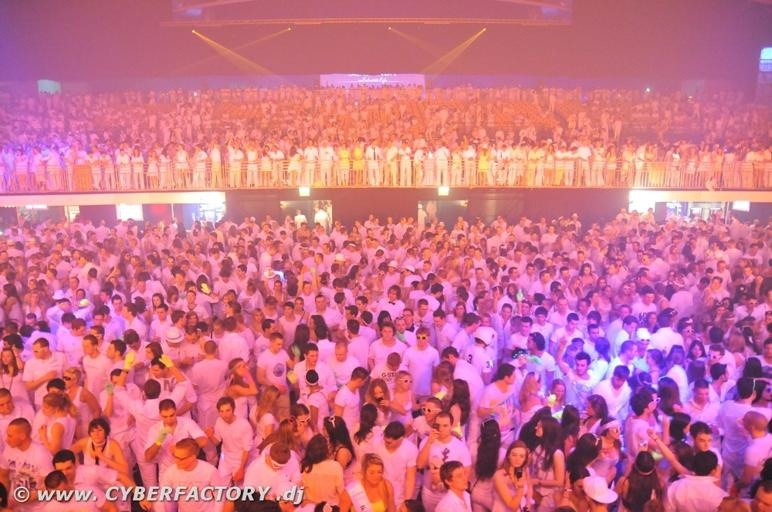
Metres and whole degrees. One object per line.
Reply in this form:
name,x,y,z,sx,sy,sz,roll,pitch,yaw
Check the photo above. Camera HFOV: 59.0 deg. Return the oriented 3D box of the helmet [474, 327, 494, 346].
helmet,2.146,1.711,14.744,0.288,0.422,0.425,21,-3,23
